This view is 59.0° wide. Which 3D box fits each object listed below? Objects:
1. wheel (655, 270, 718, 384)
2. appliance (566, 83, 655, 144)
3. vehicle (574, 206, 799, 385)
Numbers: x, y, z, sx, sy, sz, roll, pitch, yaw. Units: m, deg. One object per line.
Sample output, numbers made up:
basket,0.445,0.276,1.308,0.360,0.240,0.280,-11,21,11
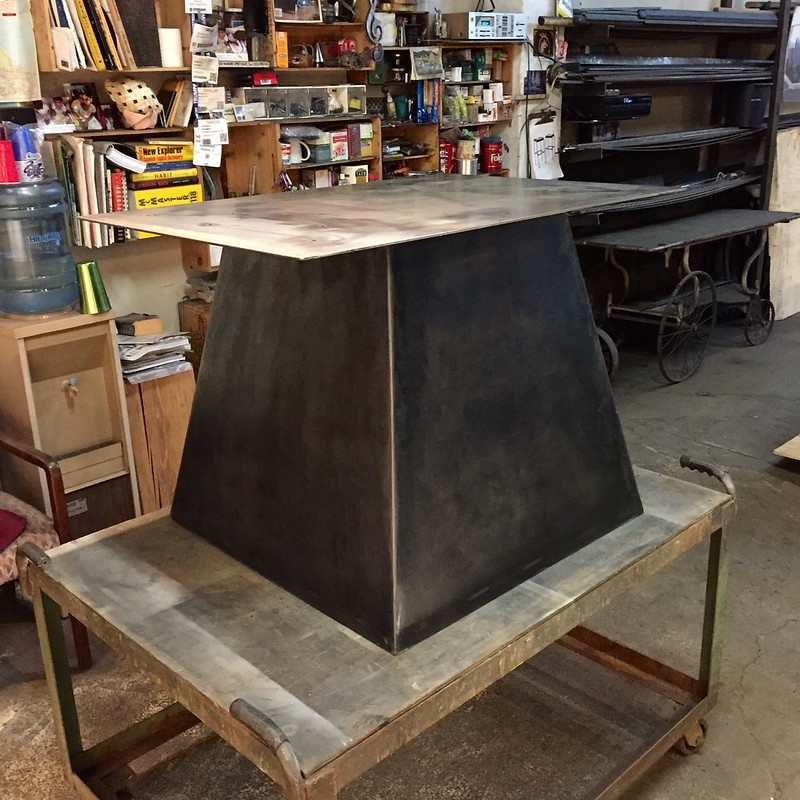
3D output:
wheel,2.053,-0.499,5.038,0.181,0.761,0.850,24,41,38
appliance,1.395,-2.080,5.036,0.533,0.410,0.714,20,32,29
vehicle,2.017,-0.730,4.910,0.619,0.735,1.669,15,26,42
